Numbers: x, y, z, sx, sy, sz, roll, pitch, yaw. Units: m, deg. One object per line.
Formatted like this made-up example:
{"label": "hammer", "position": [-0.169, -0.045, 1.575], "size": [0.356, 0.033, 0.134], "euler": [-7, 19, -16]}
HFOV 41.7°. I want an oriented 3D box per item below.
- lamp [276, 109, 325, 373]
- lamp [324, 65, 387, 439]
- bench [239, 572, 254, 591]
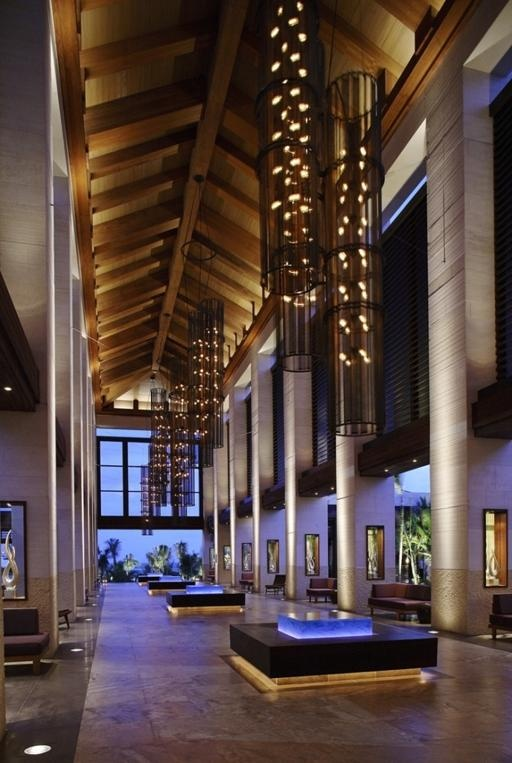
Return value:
{"label": "lamp", "position": [0.472, -1.734, 7.655], "size": [0.612, 2.613, 1.960], "euler": [-2, -12, 4]}
{"label": "lamp", "position": [1.125, -1.586, 7.647], "size": [0.732, 4.129, 0.468], "euler": [-4, -11, 11]}
{"label": "bench", "position": [-0.352, 7.777, 26.207], "size": [0.588, 0.962, 0.732], "euler": [-1, -20, 1]}
